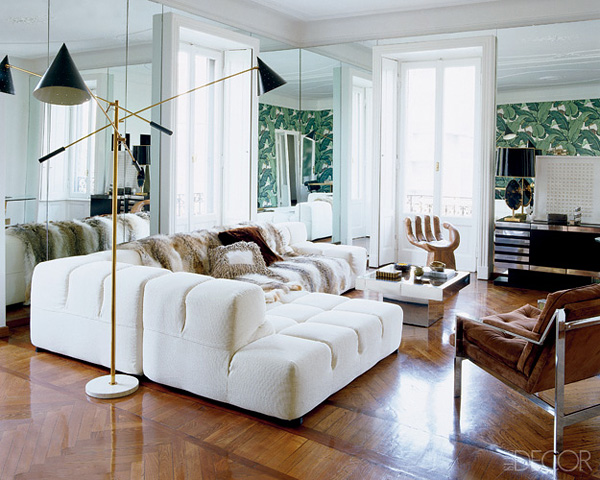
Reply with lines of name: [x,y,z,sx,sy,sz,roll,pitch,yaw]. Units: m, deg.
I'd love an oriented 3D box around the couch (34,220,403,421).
couch: [-0.491,0.496,3.811,2.381,0.801,1.771,5,10,27]

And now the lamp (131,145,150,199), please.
lamp: [-1.744,-0.774,5.253,0.219,0.626,0.220,8,22,6]
